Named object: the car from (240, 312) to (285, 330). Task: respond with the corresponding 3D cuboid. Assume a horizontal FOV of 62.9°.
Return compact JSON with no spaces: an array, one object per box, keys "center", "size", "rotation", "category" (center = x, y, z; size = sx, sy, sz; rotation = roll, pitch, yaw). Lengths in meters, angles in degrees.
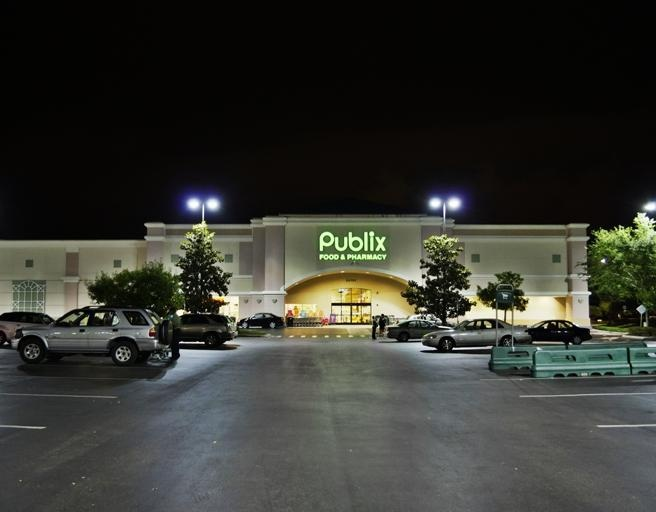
[{"center":[-6.181,6.249,50.567],"size":[3.397,1.242,1.687],"rotation":[3,-8,-1],"category":"car"}]
